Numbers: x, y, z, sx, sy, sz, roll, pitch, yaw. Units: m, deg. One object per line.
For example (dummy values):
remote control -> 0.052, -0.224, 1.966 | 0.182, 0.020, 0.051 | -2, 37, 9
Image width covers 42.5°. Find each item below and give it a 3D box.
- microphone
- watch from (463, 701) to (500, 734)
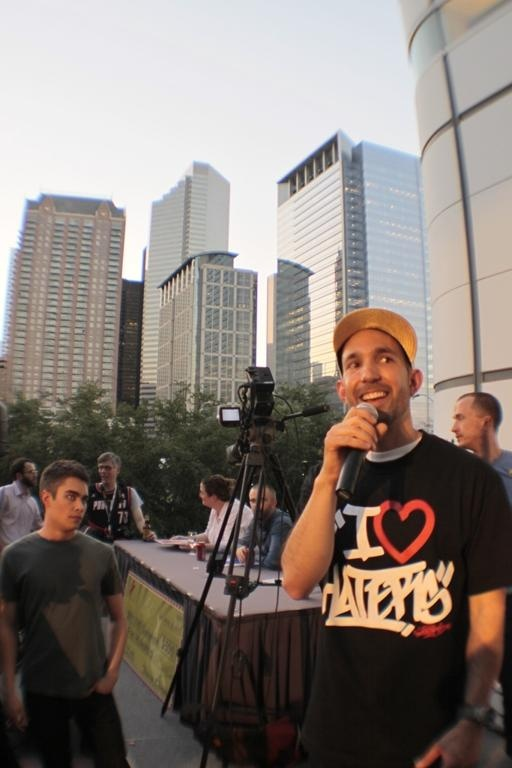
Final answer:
microphone -> 0.296, 0.177, 1.762 | 0.082, 0.332, 0.077 | 28, -45, 6
watch -> 0.548, 0.788, 1.577 | 0.066, 0.054, 0.087 | 1, -16, 12
